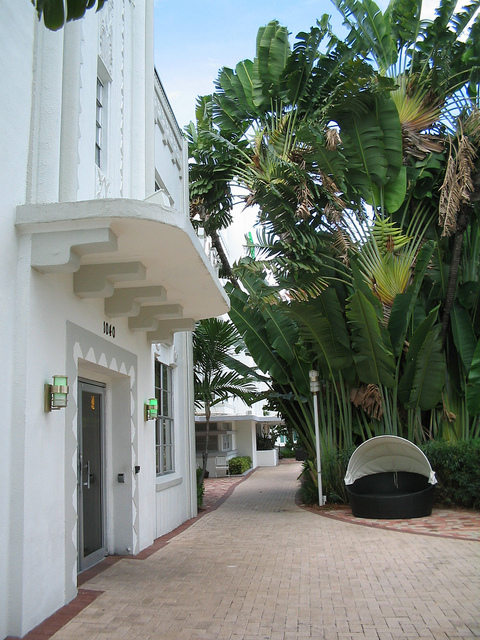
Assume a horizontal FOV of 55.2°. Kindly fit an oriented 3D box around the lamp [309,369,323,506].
[{"bbox_3d":[1.680,2.514,10.205,0.316,2.708,0.388,1,-2,-8],"label":"lamp"}]

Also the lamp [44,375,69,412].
[{"bbox_3d":[-1.520,0.593,3.761,0.177,0.299,0.141,-2,-10,-24],"label":"lamp"}]
